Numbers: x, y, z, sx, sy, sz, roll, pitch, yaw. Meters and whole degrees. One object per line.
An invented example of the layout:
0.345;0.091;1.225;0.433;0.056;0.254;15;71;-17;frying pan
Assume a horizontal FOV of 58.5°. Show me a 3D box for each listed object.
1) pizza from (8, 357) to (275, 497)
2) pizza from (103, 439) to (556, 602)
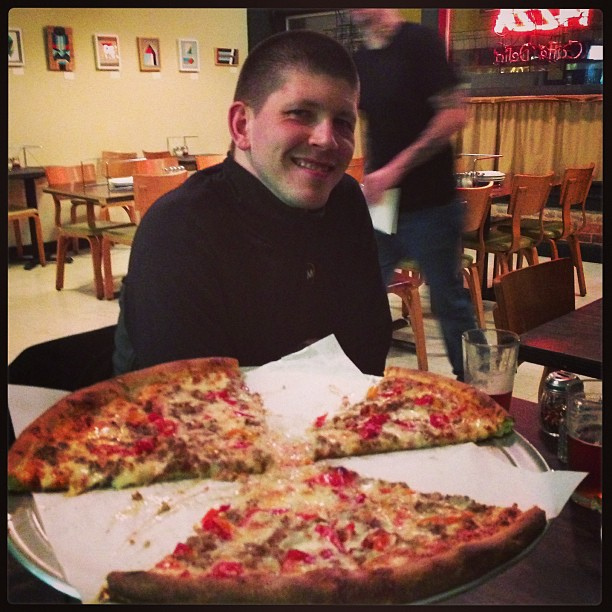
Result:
-0.170;0.127;0.566;0.203;0.031;0.123;-11;38;-22;pizza
0.026;0.195;0.496;0.425;0.031;0.143;2;26;3;pizza
